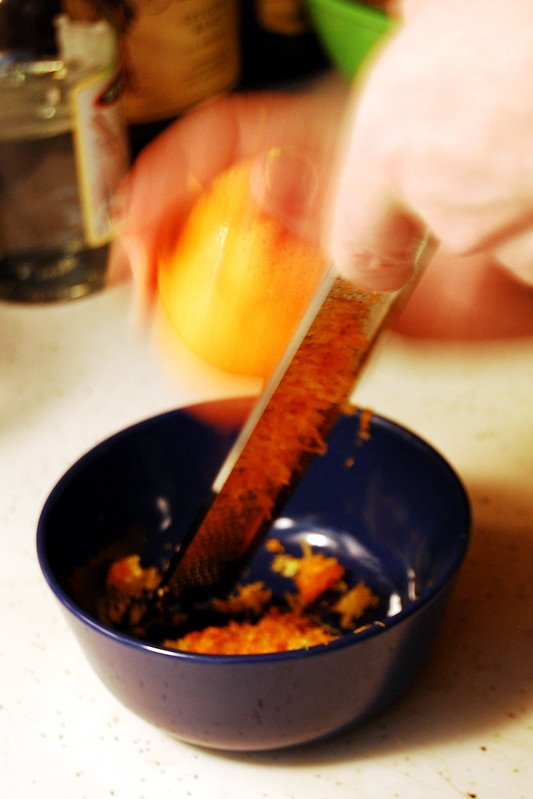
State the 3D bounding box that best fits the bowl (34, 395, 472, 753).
[{"bbox_3d":[0.004,0.107,0.451,0.256,0.093,0.252,-3,24,1],"label":"bowl"}]
